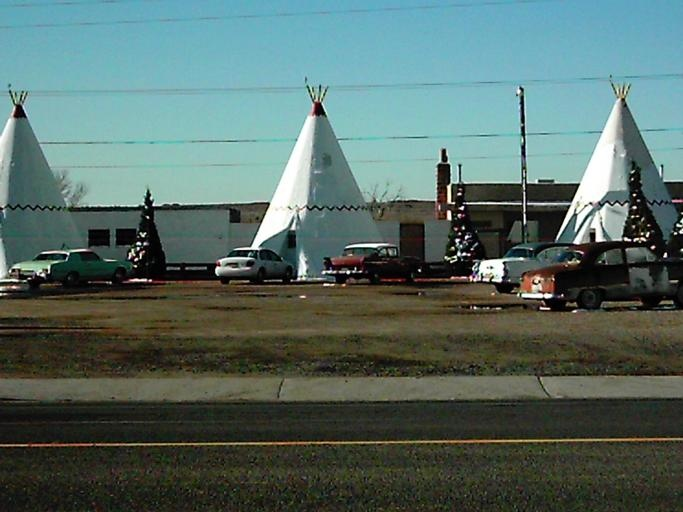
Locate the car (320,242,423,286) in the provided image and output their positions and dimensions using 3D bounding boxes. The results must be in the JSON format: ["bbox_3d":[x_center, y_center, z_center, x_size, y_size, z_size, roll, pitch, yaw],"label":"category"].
[{"bbox_3d":[1.393,0.335,35.118,1.437,0.873,2.528,3,4,45],"label":"car"}]

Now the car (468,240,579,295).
[{"bbox_3d":[5.042,0.324,29.272,2.271,0.753,1.219,-7,6,-23],"label":"car"}]

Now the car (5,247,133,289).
[{"bbox_3d":[-8.230,0.412,34.141,1.416,0.855,3.220,4,6,34],"label":"car"}]

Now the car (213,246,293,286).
[{"bbox_3d":[-2.819,0.369,36.830,1.122,0.823,2.538,0,3,31],"label":"car"}]
